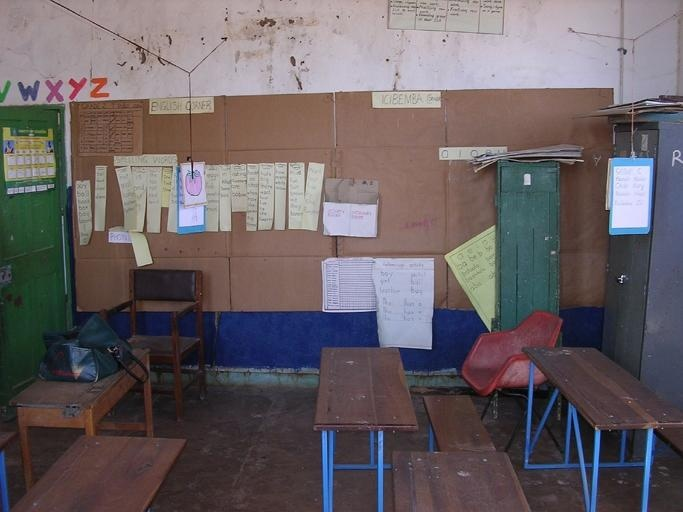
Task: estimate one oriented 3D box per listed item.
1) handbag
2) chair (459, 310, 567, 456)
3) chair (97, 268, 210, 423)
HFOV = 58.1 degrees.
[{"bbox_3d":[-1.760,0.667,4.257,0.448,0.312,0.651,5,-4,2],"label":"handbag"},{"bbox_3d":[1.247,0.907,4.821,0.855,1.199,0.901,-1,6,-9],"label":"chair"},{"bbox_3d":[-1.515,0.730,4.998,0.795,1.154,0.803,-3,7,-16],"label":"chair"}]
